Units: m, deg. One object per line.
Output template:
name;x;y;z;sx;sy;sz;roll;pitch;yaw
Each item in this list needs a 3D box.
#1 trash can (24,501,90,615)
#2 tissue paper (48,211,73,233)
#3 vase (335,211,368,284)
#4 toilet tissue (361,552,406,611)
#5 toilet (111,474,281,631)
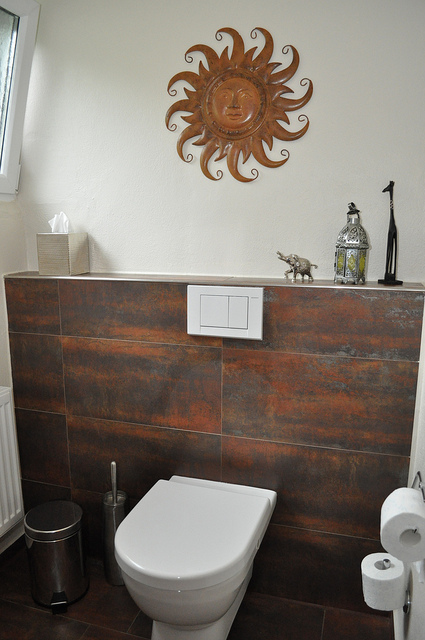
trash can;-0.531;0.796;1.722;0.242;0.266;0.196;9;12;39
tissue paper;-0.540;-0.338;1.789;0.069;0.086;0.068;12;8;-16
vase;0.406;-0.189;1.465;0.085;0.167;0.050;4;10;16
toilet tissue;0.406;0.619;1.200;0.096;0.087;0.128;5;11;19
toilet;-0.038;0.580;1.418;0.333;0.336;0.486;4;11;17
